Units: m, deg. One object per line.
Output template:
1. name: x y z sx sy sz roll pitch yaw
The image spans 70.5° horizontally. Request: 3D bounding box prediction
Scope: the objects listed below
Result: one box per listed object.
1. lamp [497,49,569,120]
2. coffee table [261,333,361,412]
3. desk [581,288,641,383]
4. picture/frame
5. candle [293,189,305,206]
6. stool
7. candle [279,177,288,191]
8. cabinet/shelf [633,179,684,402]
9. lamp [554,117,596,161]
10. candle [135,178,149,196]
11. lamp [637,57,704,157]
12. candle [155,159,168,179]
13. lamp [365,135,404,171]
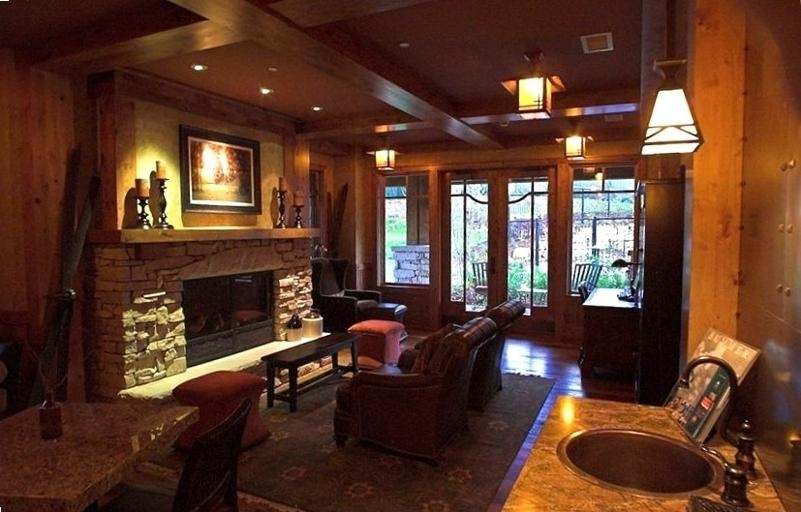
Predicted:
1. lamp: 1.115 -1.504 5.123 0.636 0.576 0.609 -1 2 2
2. coffee table: -0.920 1.202 6.173 0.364 0.488 1.258 4 7 28
3. desk: 2.718 0.876 7.221 0.780 0.756 1.635 -4 3 22
4. picture/frame: -2.001 -0.924 6.385 0.048 0.901 1.159 2 4 28
5. candle: -1.306 -0.733 7.270 0.127 0.191 0.155 -3 12 -14
6. stool: -1.587 1.372 5.072 0.714 0.577 0.709 -3 0 27
7. candle: -1.475 -0.906 7.130 0.100 0.175 0.225 -2 12 -12
8. cabinet/shelf: 2.148 0.337 4.736 0.345 1.928 0.305 4 13 15
9. lamp: 2.268 -1.511 7.410 0.604 0.529 0.587 -1 1 17
10. candle: -2.469 -0.658 5.464 0.108 0.173 0.092 -6 14 -29
11. lamp: 1.376 -0.774 2.917 0.362 0.395 0.337 -20 19 -37
12. candle: -2.381 -0.869 5.678 0.101 0.181 0.256 -5 12 -22
13. lamp: -0.258 -1.552 8.329 0.414 0.335 0.454 28 43 36
